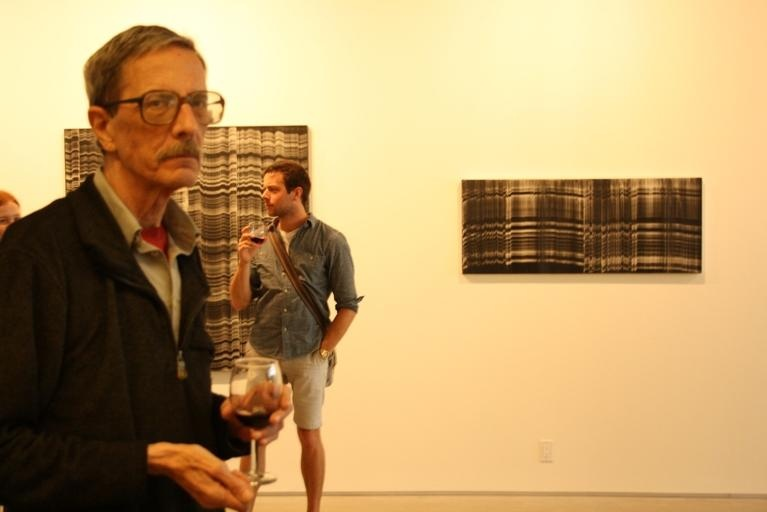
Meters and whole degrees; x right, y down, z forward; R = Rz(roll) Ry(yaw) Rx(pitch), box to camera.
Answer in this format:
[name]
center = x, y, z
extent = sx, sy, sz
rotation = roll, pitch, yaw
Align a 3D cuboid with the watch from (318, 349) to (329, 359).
[watch]
center = -0.396, 0.670, 5.216
extent = 0.049, 0.063, 0.023
rotation = 19, 6, -12
